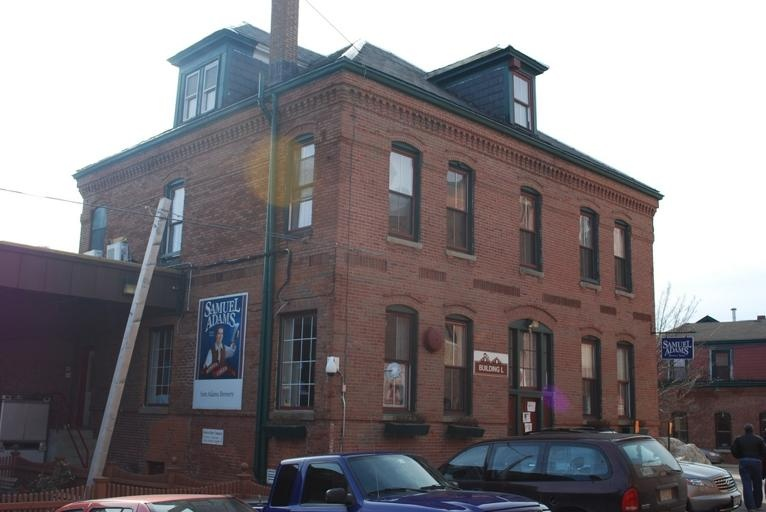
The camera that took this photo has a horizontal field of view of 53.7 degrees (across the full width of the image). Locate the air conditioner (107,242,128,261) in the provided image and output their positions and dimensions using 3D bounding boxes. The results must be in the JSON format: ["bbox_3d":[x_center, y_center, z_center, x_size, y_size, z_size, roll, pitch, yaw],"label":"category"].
[{"bbox_3d":[-9.696,-0.167,27.744,0.567,0.513,0.270,-24,-33,33],"label":"air conditioner"}]
